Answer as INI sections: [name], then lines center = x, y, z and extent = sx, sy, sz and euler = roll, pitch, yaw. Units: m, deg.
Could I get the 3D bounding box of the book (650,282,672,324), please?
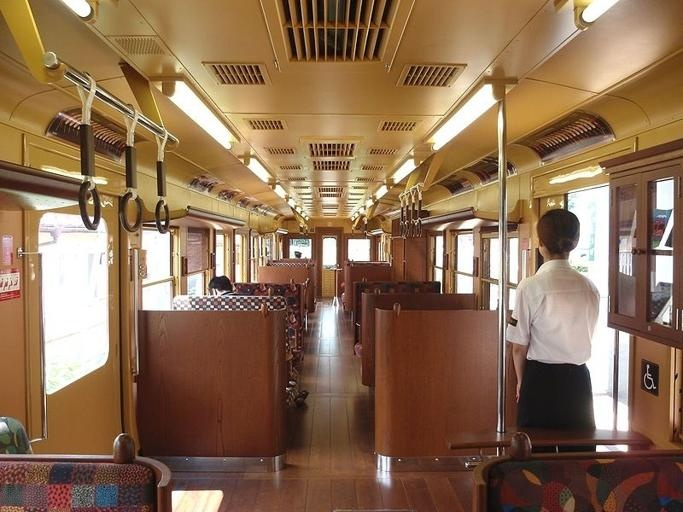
[book]
center = 2.045, 0.293, 3.536
extent = 0.025, 0.270, 0.144
euler = -1, 4, -18

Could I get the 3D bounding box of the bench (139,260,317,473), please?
[bench]
center = -1.152, 1.130, 4.826
extent = 1.286, 1.453, 0.322
euler = 1, 4, 9

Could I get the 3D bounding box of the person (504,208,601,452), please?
[person]
center = 1.350, 0.401, 3.535
extent = 0.528, 1.402, 0.277
euler = 2, 4, 26
